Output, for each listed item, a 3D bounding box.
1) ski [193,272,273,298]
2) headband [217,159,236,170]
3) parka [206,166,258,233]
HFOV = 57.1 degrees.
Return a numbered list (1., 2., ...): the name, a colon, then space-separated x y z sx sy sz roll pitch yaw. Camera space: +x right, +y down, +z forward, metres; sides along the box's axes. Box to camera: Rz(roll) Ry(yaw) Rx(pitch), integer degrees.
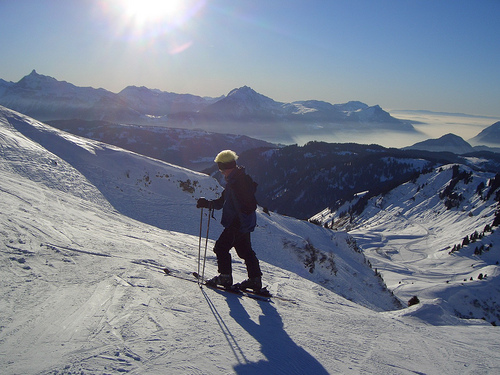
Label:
1. ski: -0.588 2.914 13.765 2.699 0.220 0.280 14 5 -2
2. headband: -0.661 -0.649 13.011 0.382 0.189 0.296 -2 -1 34
3. parka: -0.343 0.334 13.065 1.164 1.841 0.378 12 9 11
